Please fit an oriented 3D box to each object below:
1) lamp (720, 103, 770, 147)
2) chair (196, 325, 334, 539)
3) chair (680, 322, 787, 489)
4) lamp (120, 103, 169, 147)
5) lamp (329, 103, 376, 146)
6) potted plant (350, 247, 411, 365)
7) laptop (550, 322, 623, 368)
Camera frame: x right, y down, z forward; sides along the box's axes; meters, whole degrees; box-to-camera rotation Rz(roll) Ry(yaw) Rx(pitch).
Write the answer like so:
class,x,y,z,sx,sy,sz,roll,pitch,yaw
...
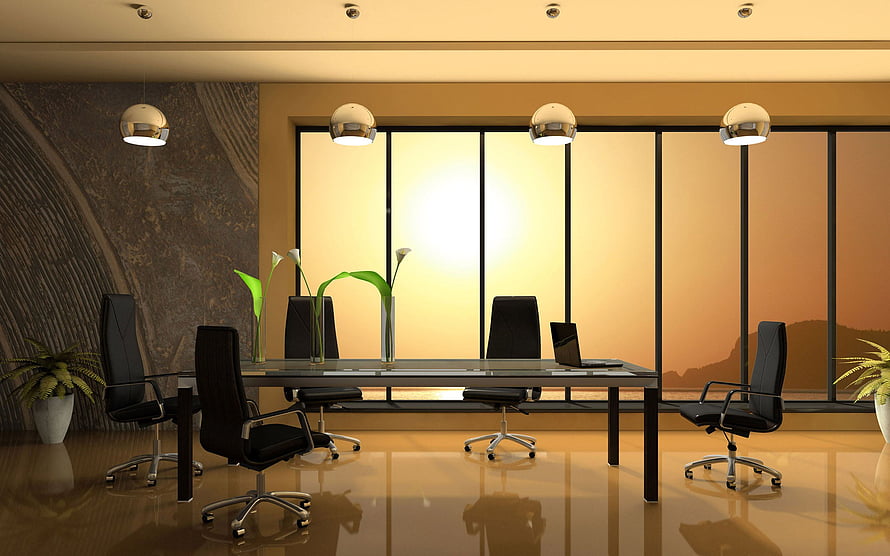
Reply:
class,x,y,z,sx,sy,sz,roll,pitch,yaw
lamp,3.473,-1.798,8.730,0.575,0.469,0.572,-3,-1,6
chair,-1.975,1.595,8.152,1.274,2.019,1.183,3,-3,-40
chair,3.357,1.433,8.892,1.270,1.823,1.239,1,1,32
lamp,-3.599,-1.796,9.033,0.574,0.495,0.557,2,-2,-40
lamp,-1.057,-1.801,8.675,0.517,0.417,0.526,10,12,42
potted plant,-0.778,0.315,9.511,0.695,1.395,2.208,0,1,-3
laptop,1.525,0.767,8.447,0.597,0.378,0.595,0,-3,-1
